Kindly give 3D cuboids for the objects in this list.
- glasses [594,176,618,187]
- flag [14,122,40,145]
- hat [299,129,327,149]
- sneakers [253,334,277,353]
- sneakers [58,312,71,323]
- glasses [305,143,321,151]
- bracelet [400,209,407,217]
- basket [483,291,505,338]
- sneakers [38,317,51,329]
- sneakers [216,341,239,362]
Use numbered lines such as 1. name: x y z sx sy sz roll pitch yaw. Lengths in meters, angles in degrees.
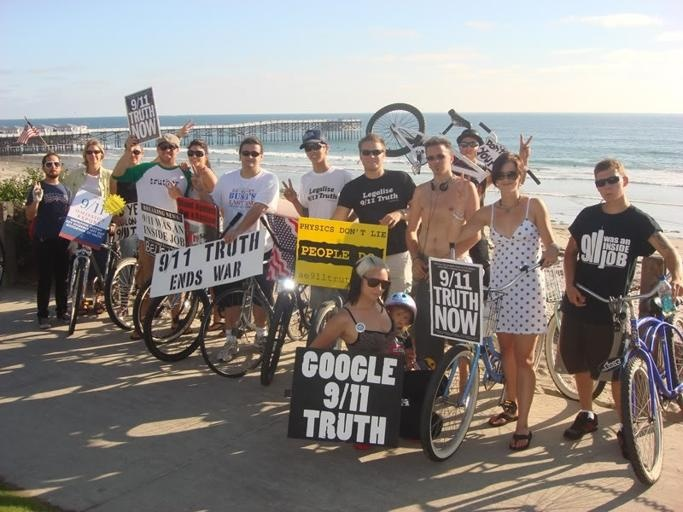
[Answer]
1. glasses: 2.336 -0.658 4.726 0.196 0.113 0.123 13 18 42
2. flag: -25.702 -10.116 44.120 1.063 1.653 5.918 -7 16 -26
3. hat: -0.341 -1.521 6.768 0.242 0.193 0.359 -6 1 17
4. sneakers: -0.881 0.978 6.078 0.234 0.154 0.343 0 -8 6
5. sneakers: -4.020 0.896 7.827 0.199 0.113 0.142 -5 -23 18
6. glasses: -0.342 -1.356 6.656 0.199 0.098 0.077 -2 13 -7
7. bracelet: 0.698 -0.477 5.924 0.072 0.075 0.072 -20 34 28
8. basket: 1.340 0.503 4.726 0.132 0.361 0.344 5 14 21
9. sneakers: -4.180 0.945 7.549 0.090 0.119 0.266 0 -3 -31
10. sneakers: -1.353 1.102 6.317 0.144 0.156 0.358 4 20 15
